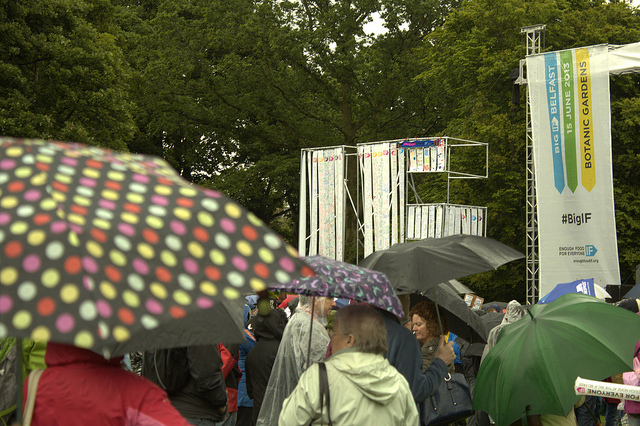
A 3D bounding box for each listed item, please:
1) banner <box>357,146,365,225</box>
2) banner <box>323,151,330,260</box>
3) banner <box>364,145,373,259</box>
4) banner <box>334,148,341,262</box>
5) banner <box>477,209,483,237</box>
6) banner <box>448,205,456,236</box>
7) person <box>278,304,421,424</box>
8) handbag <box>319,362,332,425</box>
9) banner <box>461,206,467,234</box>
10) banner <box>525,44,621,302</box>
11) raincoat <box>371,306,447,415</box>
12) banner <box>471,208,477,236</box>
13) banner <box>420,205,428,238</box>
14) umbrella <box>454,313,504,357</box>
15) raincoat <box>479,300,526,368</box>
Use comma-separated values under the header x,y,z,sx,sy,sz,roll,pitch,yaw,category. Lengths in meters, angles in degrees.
x,y,z,sx,sy,sz,roll,pitch,yaw,category
0.901,-0.634,15.707,0.111,1.597,0.512,-3,-5,4,banner
0.148,-0.310,16.209,0.046,2.361,0.325,3,-8,-26,banner
1.025,-0.298,15.544,0.249,2.262,0.558,-3,-5,4,banner
0.361,-0.208,16.087,0.113,2.468,0.324,-2,-5,-9,banner
3.636,0.204,16.520,0.120,0.580,0.424,-4,-5,19,banner
2.800,0.134,15.517,0.128,0.613,0.433,-5,-6,27,banner
0.176,1.095,5.329,1.118,1.050,0.728,2,6,-17,person
0.030,1.257,5.030,0.080,0.413,0.080,-3,-5,0,handbag
3.147,0.141,15.947,0.086,0.586,0.234,-5,-5,20,banner
5.017,-0.859,14.418,1.608,4.928,0.356,-5,-5,19,banner
0.699,1.193,5.728,0.498,0.917,0.165,-3,-6,41,raincoat
3.436,0.168,16.279,0.089,0.566,0.302,-6,-6,34,banner
2.194,0.169,15.323,0.253,0.686,0.073,-7,-7,43,banner
1.992,1.472,8.865,0.539,0.185,0.549,-6,-1,-3,umbrella
1.984,1.248,7.858,0.462,0.551,1.521,-4,-6,14,raincoat
